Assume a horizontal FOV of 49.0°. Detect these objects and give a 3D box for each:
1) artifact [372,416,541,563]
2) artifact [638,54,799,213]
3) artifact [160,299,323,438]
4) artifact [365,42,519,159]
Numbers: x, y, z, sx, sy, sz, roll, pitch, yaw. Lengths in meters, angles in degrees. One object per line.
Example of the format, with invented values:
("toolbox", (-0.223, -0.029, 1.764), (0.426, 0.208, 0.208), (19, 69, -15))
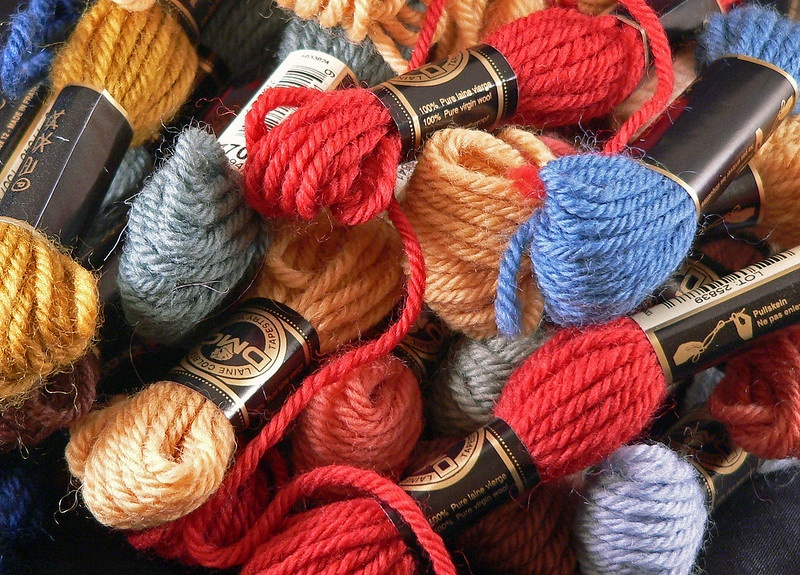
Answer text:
("artifact", (0.151, 0.393, 1.854), (0.254, 0.223, 0.141), (-2, 42, -33))
("artifact", (0.665, -0.349, 1.877), (0.211, 0.262, 0.325), (38, 37, 19))
("artifact", (-0.332, 0.153, 1.887), (0.205, 0.195, 0.250), (37, 36, 17))
("artifact", (0.113, -0.410, 1.984), (0.328, 0.190, 0.197), (-23, 87, -22))
